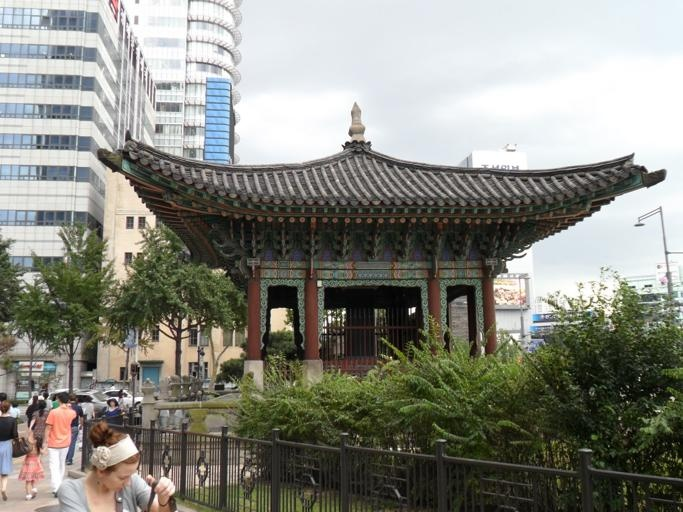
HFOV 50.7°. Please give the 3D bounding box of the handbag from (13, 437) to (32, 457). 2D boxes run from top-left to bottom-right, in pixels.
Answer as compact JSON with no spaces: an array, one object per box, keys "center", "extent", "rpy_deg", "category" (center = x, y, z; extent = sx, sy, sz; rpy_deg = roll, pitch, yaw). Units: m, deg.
[{"center":[-7.985,4.807,18.112],"extent":[0.489,0.495,0.274],"rpy_deg":[-1,-11,-4],"category":"handbag"}]
